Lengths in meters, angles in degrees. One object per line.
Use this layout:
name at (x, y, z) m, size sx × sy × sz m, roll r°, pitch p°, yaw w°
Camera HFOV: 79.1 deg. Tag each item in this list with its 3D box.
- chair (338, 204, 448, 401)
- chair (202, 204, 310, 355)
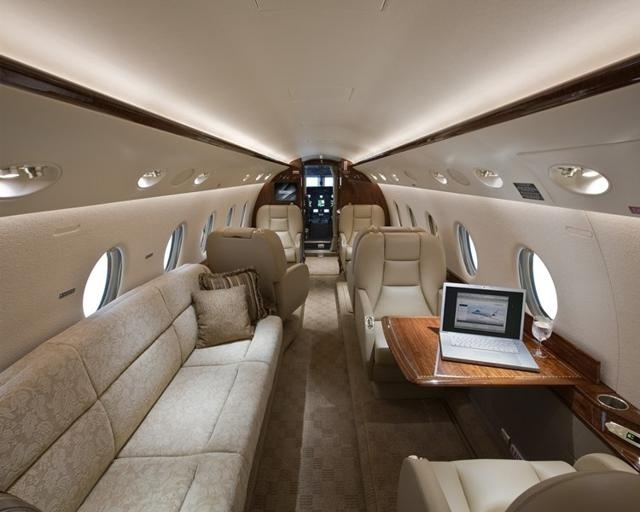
chair at (0.712, 0.361, 4.038) m, size 0.961 × 1.161 × 1.594 m, roll -1°, pitch 31°, yaw -3°
chair at (-0.631, 0.317, 4.314) m, size 1.108 × 1.653 × 1.398 m, roll 1°, pitch 5°, yaw 11°
